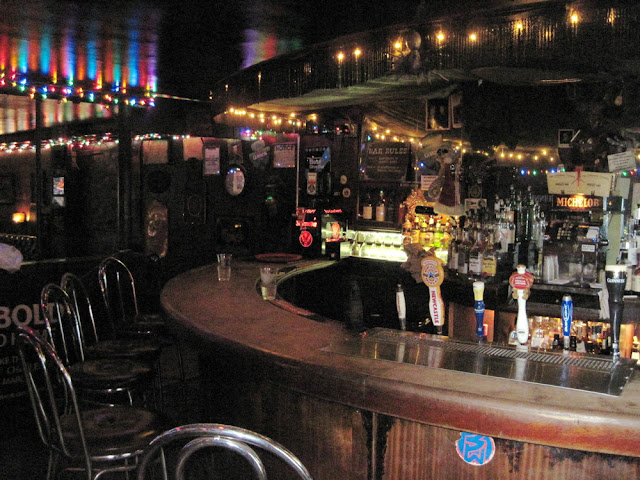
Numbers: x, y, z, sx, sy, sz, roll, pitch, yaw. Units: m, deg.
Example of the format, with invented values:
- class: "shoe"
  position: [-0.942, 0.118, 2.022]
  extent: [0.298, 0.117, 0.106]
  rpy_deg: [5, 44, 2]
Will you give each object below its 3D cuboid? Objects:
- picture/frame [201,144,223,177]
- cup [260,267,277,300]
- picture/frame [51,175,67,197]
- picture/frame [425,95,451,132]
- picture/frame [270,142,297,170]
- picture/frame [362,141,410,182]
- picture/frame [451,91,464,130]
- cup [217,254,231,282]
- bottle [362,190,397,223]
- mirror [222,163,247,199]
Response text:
- class: "picture/frame"
  position: [-1.511, -1.144, 9.075]
  extent: [0.422, 0.595, 0.060]
  rpy_deg: [5, 9, 26]
- class: "cup"
  position: [-0.364, 0.300, 4.585]
  extent: [0.109, 0.203, 0.345]
  rpy_deg: [0, 5, -6]
- class: "picture/frame"
  position: [-4.259, -0.901, 10.475]
  extent: [0.359, 0.349, 0.037]
  rpy_deg: [1, 4, 44]
- class: "picture/frame"
  position: [1.069, -1.122, 5.709]
  extent: [0.219, 0.296, 0.218]
  rpy_deg: [-5, 16, -40]
- class: "picture/frame"
  position: [-0.453, -1.126, 8.398]
  extent: [0.338, 0.335, 0.047]
  rpy_deg: [10, 16, 36]
- class: "picture/frame"
  position: [0.828, -0.892, 7.190]
  extent: [0.556, 0.484, 0.310]
  rpy_deg: [6, 5, 39]
- class: "picture/frame"
  position: [1.176, -1.064, 5.408]
  extent: [0.123, 0.232, 0.020]
  rpy_deg: [13, 28, 34]
- class: "cup"
  position: [-0.770, 0.207, 5.185]
  extent: [0.112, 0.209, 0.252]
  rpy_deg: [0, 5, -8]
- class: "bottle"
  position: [0.663, -0.392, 7.103]
  extent: [0.202, 0.363, 0.514]
  rpy_deg: [-3, 7, -38]
- class: "mirror"
  position: [-1.150, -0.785, 8.801]
  extent: [0.327, 0.352, 0.345]
  rpy_deg: [1, -11, 6]
